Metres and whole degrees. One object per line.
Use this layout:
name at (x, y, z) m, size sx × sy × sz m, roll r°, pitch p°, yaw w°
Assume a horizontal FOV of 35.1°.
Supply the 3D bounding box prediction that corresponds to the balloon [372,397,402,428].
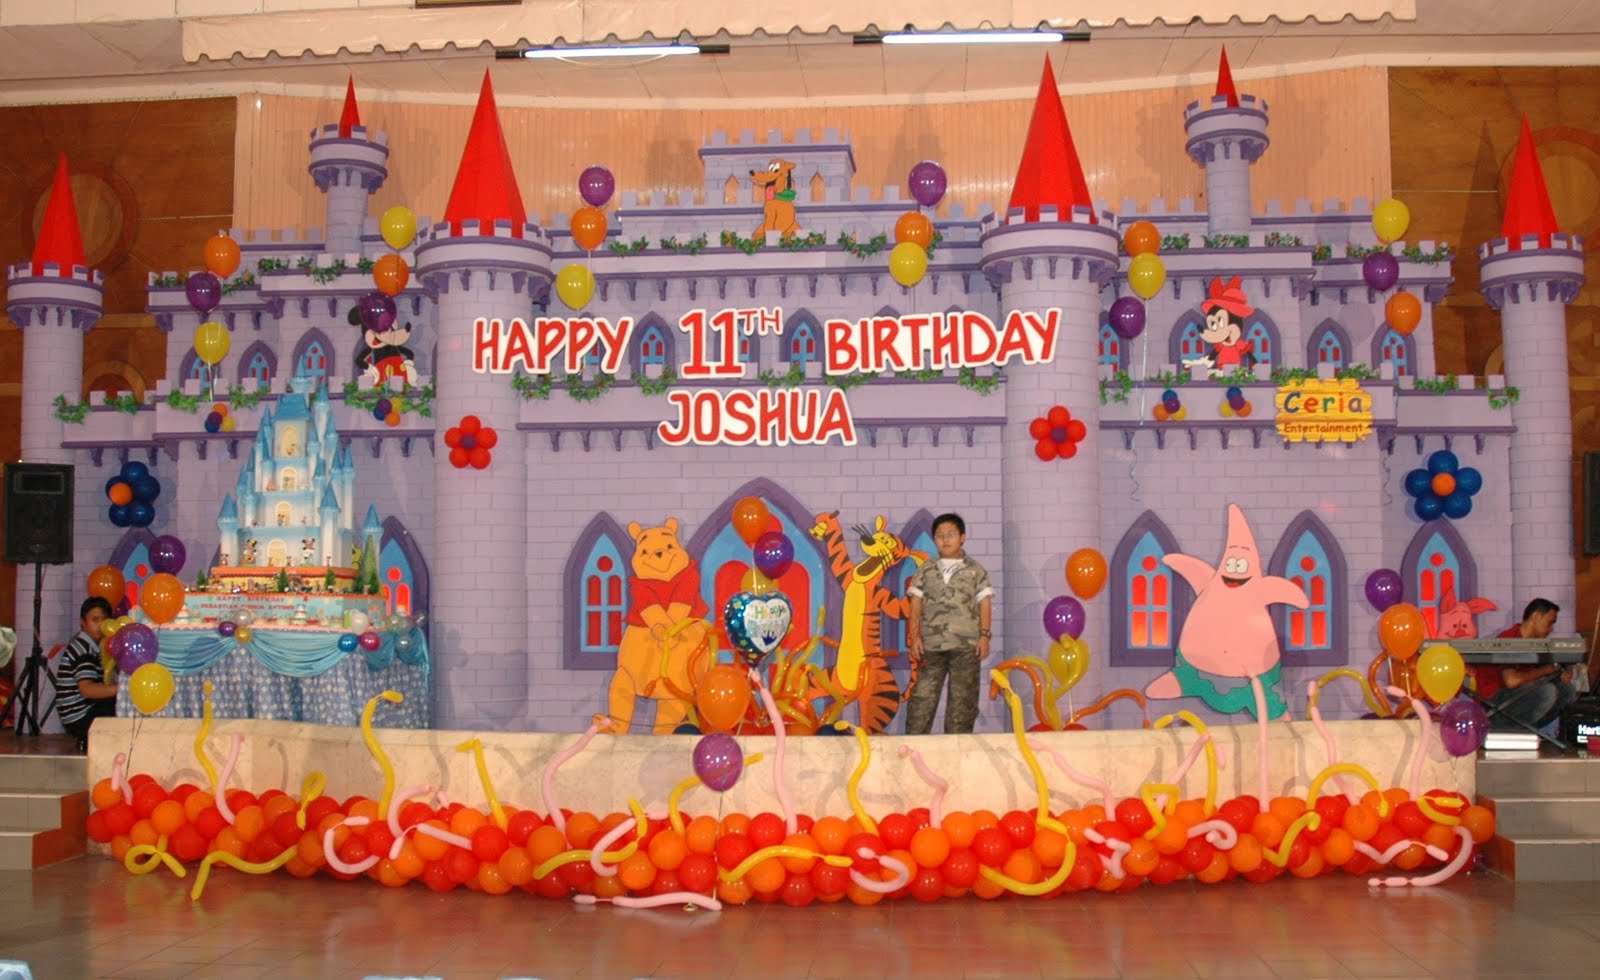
balloon at (-4.951, -0.964, 30.830) m, size 0.385 × 0.252 × 0.187 m, roll -12°, pitch -33°, yaw 1°

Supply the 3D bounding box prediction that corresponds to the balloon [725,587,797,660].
balloon at (-0.478, 1.446, 27.239) m, size 0.878 × 0.899 × 0.609 m, roll 1°, pitch -4°, yaw -18°

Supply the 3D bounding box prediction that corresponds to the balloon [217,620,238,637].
balloon at (-6.206, 1.518, 27.777) m, size 0.186 × 0.166 × 0.156 m, roll -4°, pitch -14°, yaw -41°

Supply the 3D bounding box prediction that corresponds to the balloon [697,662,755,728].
balloon at (-0.787, 2.158, 26.171) m, size 0.649 × 0.687 × 0.591 m, roll -3°, pitch -8°, yaw -11°

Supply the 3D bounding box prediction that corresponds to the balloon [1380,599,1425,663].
balloon at (6.382, 1.500, 27.107) m, size 0.520 × 0.722 × 0.570 m, roll 1°, pitch -19°, yaw 4°

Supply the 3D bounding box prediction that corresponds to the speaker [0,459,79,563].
speaker at (-9.002, 0.295, 30.217) m, size 0.990 × 1.625 × 1.010 m, roll 1°, pitch -5°, yaw -27°

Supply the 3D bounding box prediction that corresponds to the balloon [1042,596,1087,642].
balloon at (3.029, 1.449, 29.072) m, size 0.496 × 0.751 × 0.461 m, roll 0°, pitch -6°, yaw -13°

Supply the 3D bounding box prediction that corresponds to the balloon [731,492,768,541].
balloon at (-0.547, 0.339, 29.645) m, size 0.403 × 0.529 × 0.543 m, roll 0°, pitch -4°, yaw -3°

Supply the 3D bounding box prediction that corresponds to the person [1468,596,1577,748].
person at (8.058, 2.009, 27.846) m, size 1.007 × 1.672 × 0.940 m, roll -8°, pitch 9°, yaw 29°

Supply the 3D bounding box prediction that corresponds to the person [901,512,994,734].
person at (1.634, 1.445, 27.658) m, size 0.872 × 2.363 × 0.434 m, roll 0°, pitch -4°, yaw -3°

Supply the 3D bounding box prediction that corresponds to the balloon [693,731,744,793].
balloon at (-0.791, 2.729, 25.533) m, size 0.441 × 0.578 × 0.322 m, roll -4°, pitch -2°, yaw -1°

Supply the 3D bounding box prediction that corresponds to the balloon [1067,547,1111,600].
balloon at (3.300, 0.956, 29.467) m, size 0.501 × 0.818 × 0.526 m, roll 4°, pitch -12°, yaw 3°

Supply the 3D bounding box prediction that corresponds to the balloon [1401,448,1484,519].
balloon at (7.815, -0.050, 30.695) m, size 0.824 × 0.872 × 0.325 m, roll -20°, pitch 4°, yaw 2°

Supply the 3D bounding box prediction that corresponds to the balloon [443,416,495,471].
balloon at (-3.860, -0.555, 30.540) m, size 0.578 × 0.630 × 0.240 m, roll 10°, pitch -3°, yaw -1°

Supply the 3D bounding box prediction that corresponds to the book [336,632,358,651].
book at (-4.913, 1.661, 27.884) m, size 0.203 × 0.162 × 0.161 m, roll -19°, pitch -18°, yaw -17°

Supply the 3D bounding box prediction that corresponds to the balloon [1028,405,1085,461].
balloon at (3.061, -0.690, 30.006) m, size 0.588 × 0.650 × 0.231 m, roll -2°, pitch 0°, yaw 3°

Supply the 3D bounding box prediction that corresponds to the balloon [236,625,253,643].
balloon at (-6.016, 1.575, 27.801) m, size 0.146 × 0.185 × 0.152 m, roll 3°, pitch 1°, yaw -2°

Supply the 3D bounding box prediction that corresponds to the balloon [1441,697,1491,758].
balloon at (6.809, 2.432, 26.169) m, size 0.429 × 0.593 × 0.569 m, roll 4°, pitch -14°, yaw 0°

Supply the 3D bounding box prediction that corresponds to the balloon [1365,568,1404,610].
balloon at (6.978, 1.216, 30.319) m, size 0.440 × 0.692 × 0.454 m, roll -4°, pitch -47°, yaw 19°

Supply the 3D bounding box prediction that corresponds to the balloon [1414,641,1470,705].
balloon at (6.710, 1.905, 26.602) m, size 0.539 × 0.709 × 0.565 m, roll 3°, pitch 13°, yaw 21°

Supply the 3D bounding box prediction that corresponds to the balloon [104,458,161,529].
balloon at (-8.200, 0.008, 31.775) m, size 0.495 × 0.803 × 0.627 m, roll 0°, pitch 21°, yaw 35°
